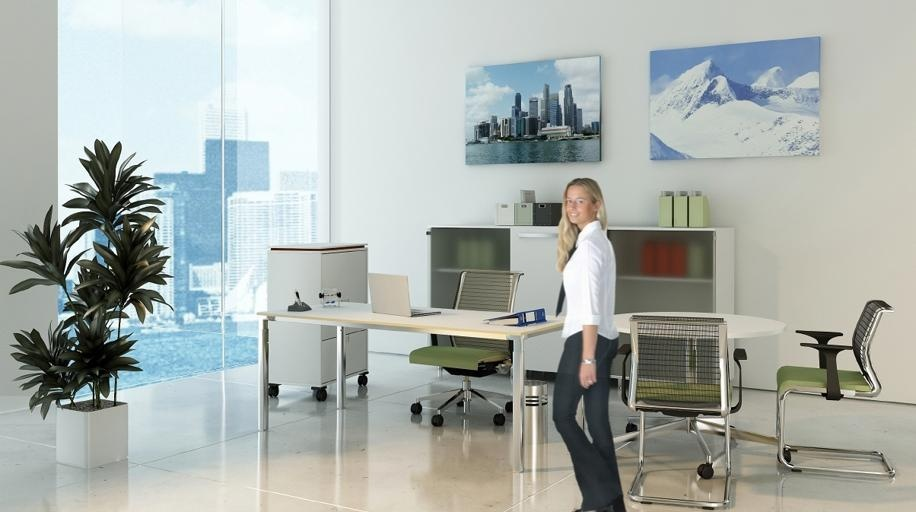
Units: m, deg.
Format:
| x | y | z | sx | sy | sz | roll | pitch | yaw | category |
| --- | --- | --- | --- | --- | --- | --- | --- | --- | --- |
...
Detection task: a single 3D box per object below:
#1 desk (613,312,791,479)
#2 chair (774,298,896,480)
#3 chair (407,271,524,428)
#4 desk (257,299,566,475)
| x | y | z | sx | sy | sz | roll | pitch | yaw | category |
| --- | --- | --- | --- | --- | --- | --- | --- | --- | --- |
| 2.660 | 1.539 | 8.139 | 1.960 | 1.205 | 1.816 | 2 | -10 | 15 | desk |
| 3.943 | 1.311 | 7.368 | 1.171 | 1.697 | 0.911 | 4 | 14 | 19 | chair |
| 0.074 | 1.047 | 8.735 | 1.405 | 1.697 | 1.426 | 0 | 7 | 22 | chair |
| -0.699 | 1.203 | 8.167 | 2.747 | 1.010 | 1.238 | 5 | 2 | 5 | desk |
